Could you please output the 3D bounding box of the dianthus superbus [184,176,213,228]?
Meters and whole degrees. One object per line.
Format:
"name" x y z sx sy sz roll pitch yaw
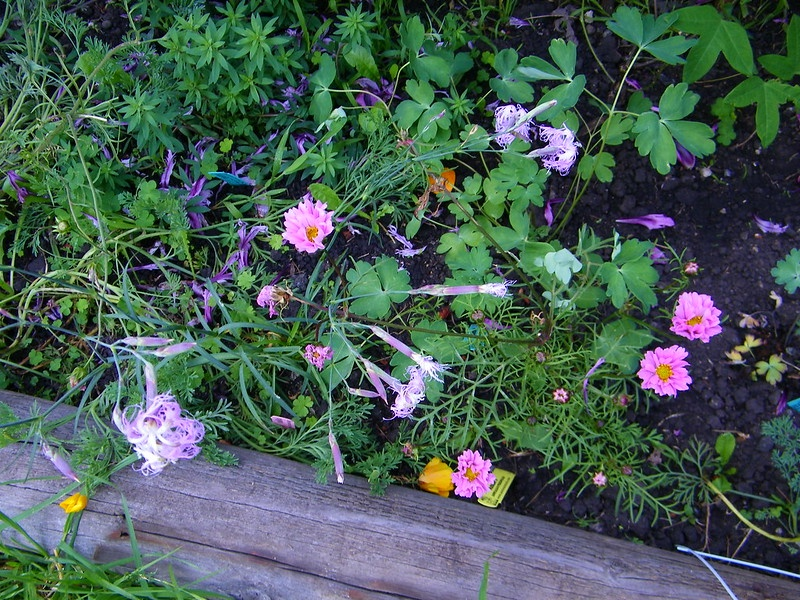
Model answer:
"dianthus superbus" -0.856 -0.415 2.787 0.054 0.153 0.180 -8 74 41

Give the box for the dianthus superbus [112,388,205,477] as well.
"dianthus superbus" -0.736 0.411 2.100 0.272 0.121 0.279 -13 83 -15

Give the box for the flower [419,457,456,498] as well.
"flower" 0.145 0.683 2.593 0.129 0.069 0.140 32 92 13

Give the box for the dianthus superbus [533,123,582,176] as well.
"dianthus superbus" 0.618 -0.585 2.582 0.126 0.141 0.160 -37 46 -17

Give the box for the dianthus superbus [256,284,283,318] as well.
"dianthus superbus" -0.481 -0.008 2.395 0.052 0.125 0.135 -14 68 1

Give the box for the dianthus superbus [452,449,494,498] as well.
"dianthus superbus" 0.274 0.644 2.510 0.156 0.070 0.183 26 92 0

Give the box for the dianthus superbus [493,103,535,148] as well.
"dianthus superbus" 0.409 -0.701 2.507 0.158 0.085 0.147 -23 36 -27

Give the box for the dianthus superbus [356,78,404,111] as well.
"dianthus superbus" -0.104 -0.879 2.804 0.160 0.069 0.161 42 67 17

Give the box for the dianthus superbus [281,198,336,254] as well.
"dianthus superbus" -0.338 -0.281 2.424 0.168 0.098 0.177 32 68 14

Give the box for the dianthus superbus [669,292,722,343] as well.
"dianthus superbus" 1.101 0.055 2.433 0.159 0.104 0.144 20 65 9

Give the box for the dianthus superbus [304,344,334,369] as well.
"dianthus superbus" -0.322 0.203 2.520 0.088 0.048 0.095 28 52 19

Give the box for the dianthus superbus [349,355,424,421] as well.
"dianthus superbus" -0.040 0.271 2.315 0.267 0.142 0.207 44 84 9
